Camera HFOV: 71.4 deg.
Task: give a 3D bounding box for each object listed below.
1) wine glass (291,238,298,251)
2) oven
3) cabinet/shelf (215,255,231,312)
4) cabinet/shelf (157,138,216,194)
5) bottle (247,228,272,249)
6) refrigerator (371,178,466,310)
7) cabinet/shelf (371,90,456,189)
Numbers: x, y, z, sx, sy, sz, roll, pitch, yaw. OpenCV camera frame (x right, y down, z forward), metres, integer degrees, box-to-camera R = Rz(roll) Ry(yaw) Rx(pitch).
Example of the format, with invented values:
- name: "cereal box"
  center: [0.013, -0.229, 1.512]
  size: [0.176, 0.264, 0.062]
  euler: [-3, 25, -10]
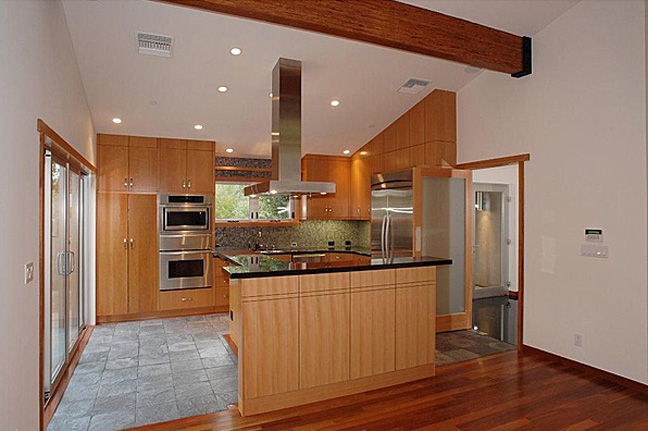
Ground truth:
- name: "wine glass"
  center: [-0.612, 0.572, 9.169]
  size: [0.185, 0.241, 0.198]
  euler: [1, -1, -20]
- name: "oven"
  center: [-2.711, 0.456, 8.341]
  size: [1.095, 1.774, 0.907]
  euler: [0, -1, -35]
- name: "cabinet/shelf"
  center: [-1.890, 1.242, 8.241]
  size: [0.269, 0.992, 0.204]
  euler: [-4, 13, -13]
- name: "cabinet/shelf"
  center: [-2.514, -0.920, 8.073]
  size: [1.077, 0.932, 0.404]
  euler: [0, 0, -22]
- name: "bottle"
  center: [-1.267, 0.451, 8.941]
  size: [0.508, 0.382, 0.247]
  euler: [-3, 13, -11]
- name: "refrigerator"
  center: [1.582, 0.405, 7.419]
  size: [1.543, 2.185, 0.973]
  euler: [3, 13, 14]
- name: "cabinet/shelf"
  center: [1.533, -1.295, 7.441]
  size: [0.299, 0.770, 1.656]
  euler: [2, -2, -23]
